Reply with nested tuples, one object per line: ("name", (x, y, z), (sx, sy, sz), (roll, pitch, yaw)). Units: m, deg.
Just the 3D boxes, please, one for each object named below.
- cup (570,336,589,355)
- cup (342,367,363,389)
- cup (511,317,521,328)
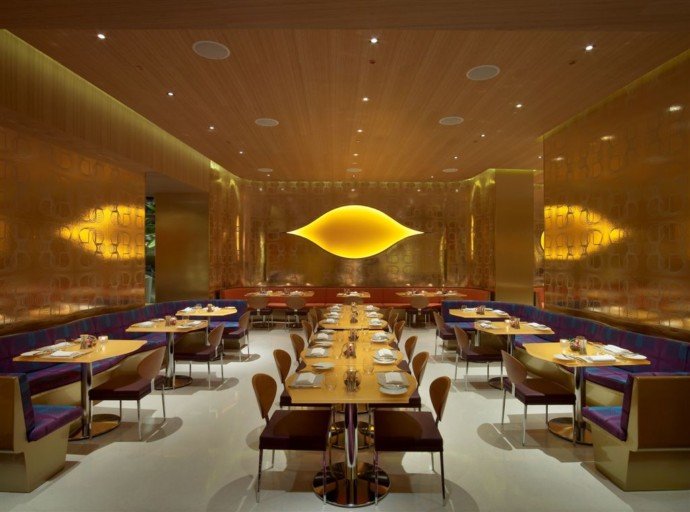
("cup", (2.641, 0.997, 5.604), (0.215, 0.202, 0.173), (0, -5, 19))
("cup", (0.068, 1.109, 4.557), (0.175, 0.175, 0.174), (-2, 1, 0))
("cup", (2.407, 0.924, 6.932), (0.117, 0.147, 0.160), (2, -7, -6))
